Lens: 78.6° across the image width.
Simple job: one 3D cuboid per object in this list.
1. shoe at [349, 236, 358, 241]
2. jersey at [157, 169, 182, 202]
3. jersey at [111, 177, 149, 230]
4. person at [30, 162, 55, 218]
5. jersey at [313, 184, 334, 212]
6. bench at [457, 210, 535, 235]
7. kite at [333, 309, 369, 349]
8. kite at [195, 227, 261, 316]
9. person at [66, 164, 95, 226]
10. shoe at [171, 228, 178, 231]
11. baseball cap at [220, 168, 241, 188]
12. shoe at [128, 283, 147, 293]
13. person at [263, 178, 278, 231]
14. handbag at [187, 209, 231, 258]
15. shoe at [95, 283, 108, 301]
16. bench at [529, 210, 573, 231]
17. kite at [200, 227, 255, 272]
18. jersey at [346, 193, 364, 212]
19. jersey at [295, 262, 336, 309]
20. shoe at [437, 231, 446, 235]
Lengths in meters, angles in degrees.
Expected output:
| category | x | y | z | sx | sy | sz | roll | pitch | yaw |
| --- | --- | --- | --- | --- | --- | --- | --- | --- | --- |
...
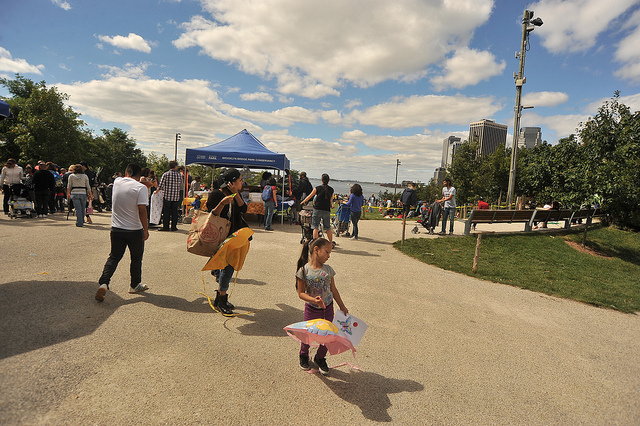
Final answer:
| category | x | y | z | sx | sy | sz | roll | pitch | yaw |
| --- | --- | --- | --- | --- | --- | --- | --- | --- | --- |
| shoe | 1.314 | 0.960 | 15.134 | 0.359 | 0.251 | 0.127 | 6 | 4 | 13 |
| jersey | -5.267 | -1.015 | 13.860 | 0.479 | 1.079 | 0.906 | 17 | 15 | 41 |
| jersey | -4.121 | -0.212 | 8.433 | 1.009 | 1.024 | 0.591 | 9 | 5 | 20 |
| person | -10.579 | -0.888 | 14.961 | 0.615 | 2.093 | 0.702 | 15 | 16 | 39 |
| jersey | 0.130 | -0.491 | 12.691 | 0.600 | 0.834 | 0.427 | 2 | 13 | -12 |
| bench | 7.752 | 0.356 | 16.980 | 3.213 | 1.061 | 0.974 | 0 | 5 | -18 |
| kite | 0.466 | 1.949 | 6.723 | 0.573 | 0.601 | 0.016 | 12 | 25 | 2 |
| kite | -1.763 | 1.093 | 7.853 | 1.031 | 1.719 | 1.504 | 12 | 7 | -8 |
| person | -8.449 | -0.601 | 13.767 | 0.716 | 2.172 | 1.352 | -3 | 15 | -32 |
| shoe | -5.289 | 0.592 | 14.190 | 0.192 | 0.058 | 0.241 | 1 | 13 | -20 |
| baseball cap | -1.778 | -0.684 | 7.777 | 0.425 | 0.410 | 0.155 | 10 | 13 | 22 |
| shoe | -3.958 | 1.598 | 8.581 | 0.418 | 0.198 | 0.153 | -7 | 11 | -37 |
| person | -1.995 | -0.349 | 15.699 | 0.460 | 2.102 | 0.980 | 3 | 13 | -7 |
| handbag | -2.291 | 0.387 | 7.935 | 0.506 | 0.920 | 0.794 | 18 | 2 | 43 |
| shoe | -4.481 | 1.603 | 8.080 | 0.165 | 0.399 | 0.167 | 20 | -2 | -13 |
| bench | 11.171 | 0.286 | 18.929 | 4.057 | 1.082 | 0.369 | -4 | 15 | -36 |
| kite | -1.917 | 0.665 | 8.006 | 0.902 | 0.843 | 0.314 | -41 | 31 | -23 |
| jersey | 1.371 | -0.477 | 14.566 | 0.697 | 0.826 | 0.515 | 8 | 41 | 14 |
| jersey | -0.027 | 1.267 | 6.915 | 0.755 | 0.790 | 0.415 | -3 | -4 | -18 |
| shoe | 5.207 | 0.813 | 16.607 | 0.306 | 0.140 | 0.390 | 8 | 12 | 14 |
